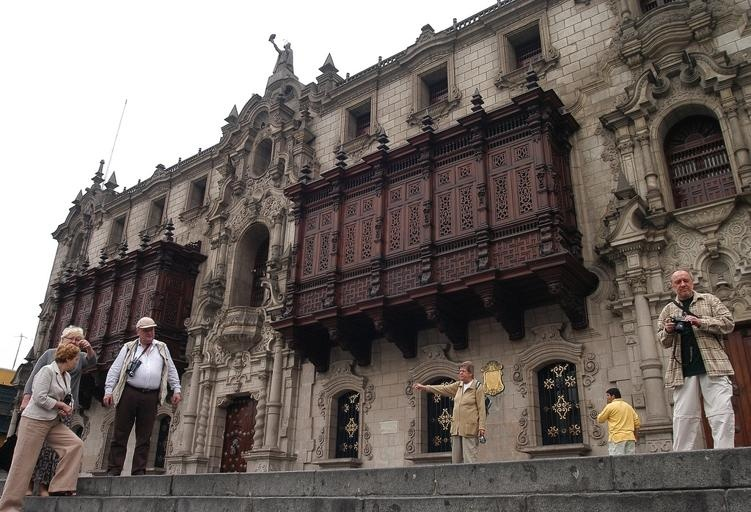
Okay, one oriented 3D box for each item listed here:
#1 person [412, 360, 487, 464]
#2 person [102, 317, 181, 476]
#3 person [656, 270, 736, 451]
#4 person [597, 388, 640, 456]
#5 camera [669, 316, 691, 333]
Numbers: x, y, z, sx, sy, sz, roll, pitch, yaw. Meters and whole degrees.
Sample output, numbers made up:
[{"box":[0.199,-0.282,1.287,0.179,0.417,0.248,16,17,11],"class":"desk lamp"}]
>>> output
[{"box":[1.809,3.192,12.794,0.517,1.935,0.934,20,-32,-38],"class":"person"},{"box":[-4.414,2.560,11.704,1.247,2.806,1.192,6,-26,-15],"class":"person"},{"box":[5.092,1.555,9.887,1.179,2.877,0.847,-16,-28,29],"class":"person"},{"box":[4.798,3.241,12.405,0.694,1.335,0.796,-16,-28,29],"class":"person"},{"box":[4.816,1.059,9.857,0.225,0.252,0.270,22,-33,18],"class":"camera"}]
